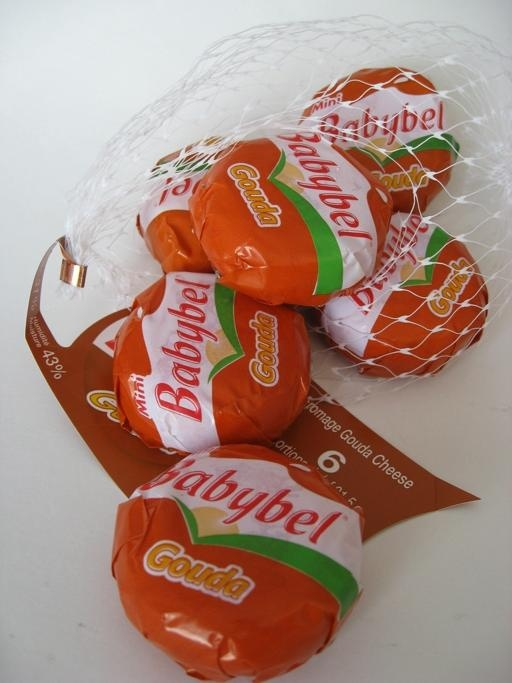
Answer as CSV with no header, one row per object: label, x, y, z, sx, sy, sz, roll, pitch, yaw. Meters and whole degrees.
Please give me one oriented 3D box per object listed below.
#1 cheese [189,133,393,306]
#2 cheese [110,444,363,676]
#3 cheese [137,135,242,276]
cheese,0.062,-0.182,1.015,0.296,0.203,0.214,-16,37,-7
cheese,-0.019,0.285,0.978,0.449,0.243,0.308,-7,41,-4
cheese,-0.140,-0.240,1.179,0.236,0.219,0.204,-18,40,-26
